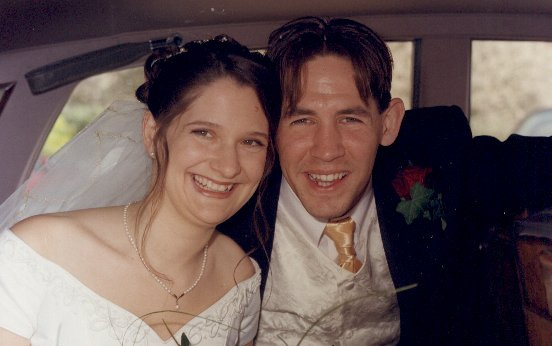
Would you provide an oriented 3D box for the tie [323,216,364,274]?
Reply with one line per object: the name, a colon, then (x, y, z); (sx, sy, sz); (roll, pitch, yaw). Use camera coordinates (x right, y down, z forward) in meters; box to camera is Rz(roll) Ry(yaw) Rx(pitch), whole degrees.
tie: (0.344, 0.309, 2.605); (0.085, 0.189, 0.323); (18, 16, 18)
